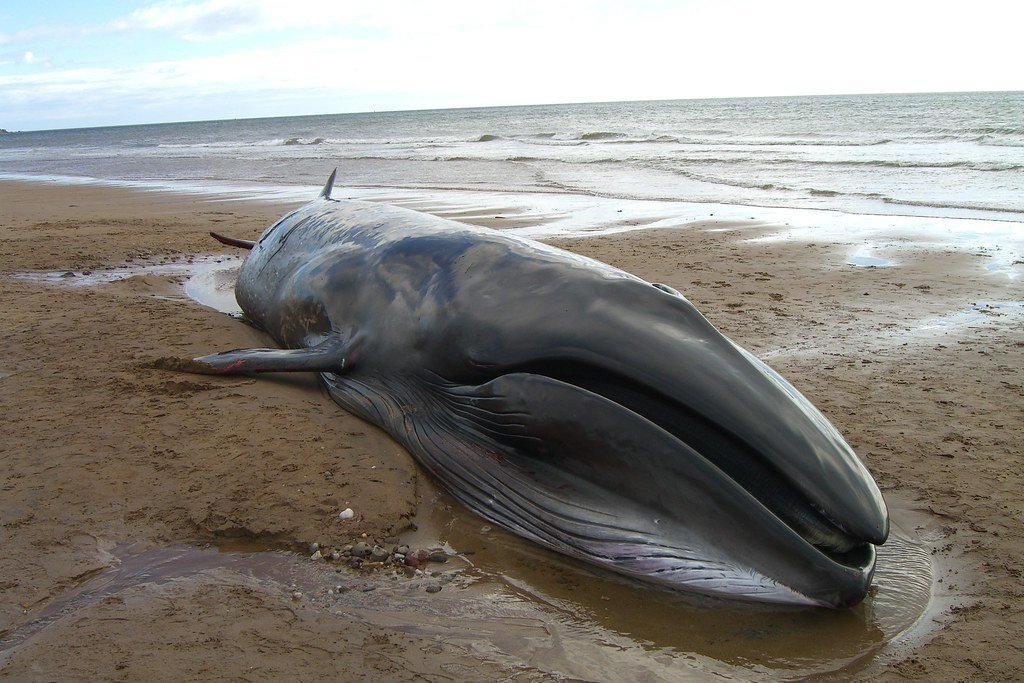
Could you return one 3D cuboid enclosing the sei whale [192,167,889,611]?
[{"bbox_3d":[0.065,0.214,7.087,5.607,1.100,3.299,14,19,43],"label":"sei whale"}]
